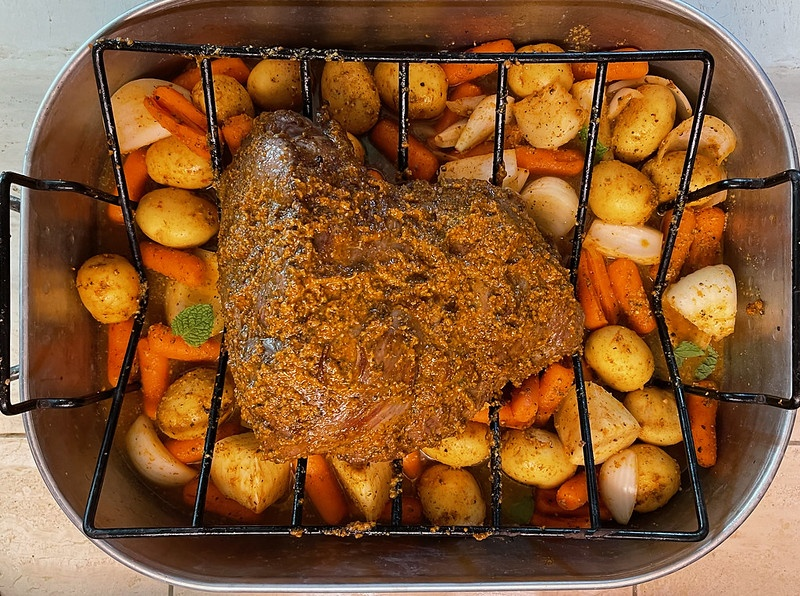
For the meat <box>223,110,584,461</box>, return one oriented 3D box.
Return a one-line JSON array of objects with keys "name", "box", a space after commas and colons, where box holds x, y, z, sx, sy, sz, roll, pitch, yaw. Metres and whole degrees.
[{"name": "meat", "box": [-0.083, 0.021, 3.165, 1.375, 0.368, 1.198, 16, 83, 2]}]
